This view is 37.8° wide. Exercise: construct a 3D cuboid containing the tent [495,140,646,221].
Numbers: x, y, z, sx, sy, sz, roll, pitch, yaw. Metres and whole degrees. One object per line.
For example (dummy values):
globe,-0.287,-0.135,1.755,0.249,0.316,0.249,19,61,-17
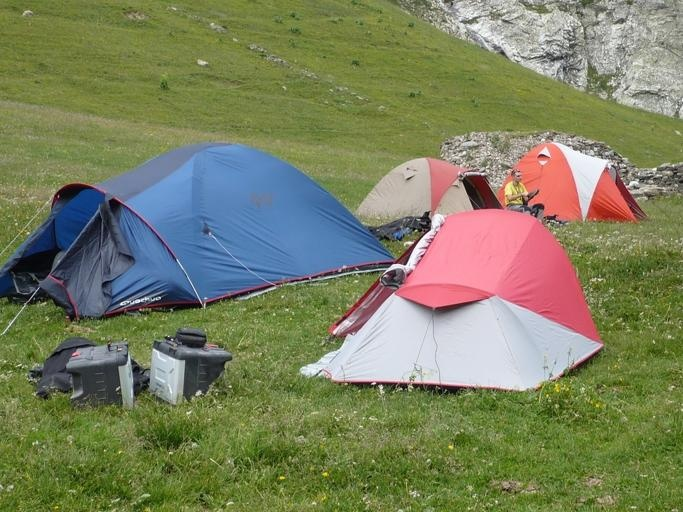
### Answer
tent,11.456,-3.409,49.075,5.886,4.155,4.721,5,20,0
